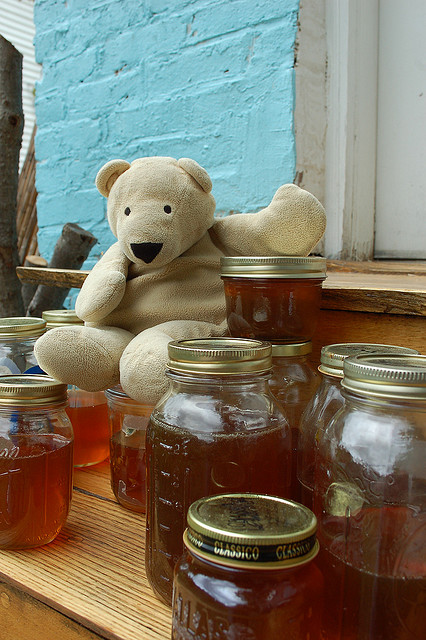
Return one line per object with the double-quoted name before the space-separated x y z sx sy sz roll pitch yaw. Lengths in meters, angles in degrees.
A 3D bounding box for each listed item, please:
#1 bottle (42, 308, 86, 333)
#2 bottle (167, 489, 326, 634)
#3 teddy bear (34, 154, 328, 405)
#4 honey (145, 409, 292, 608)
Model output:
"bottle" -0.251 -0.013 0.958 0.071 0.059 0.065 0 5 -5
"bottle" 0.025 0.171 0.382 0.084 0.091 0.086 -5 6 -36
"teddy bear" -0.046 -0.065 0.713 0.379 0.282 0.259 -11 16 -5
"honey" 0.013 0.167 0.516 0.138 0.185 0.129 -2 -7 2
